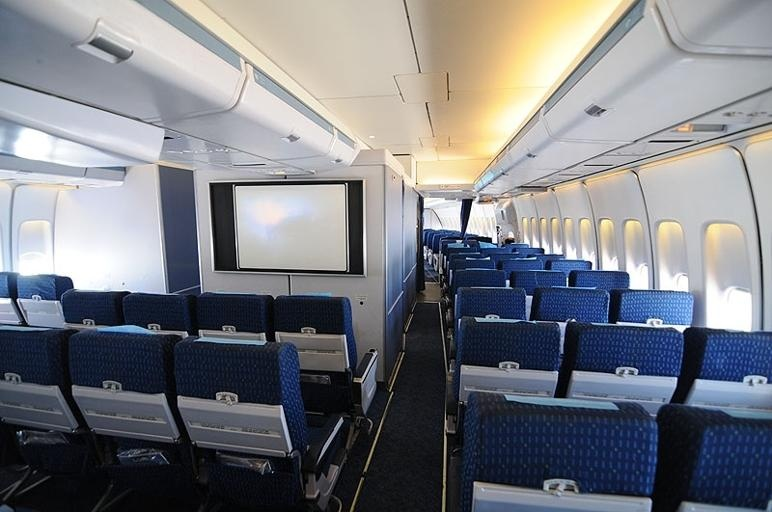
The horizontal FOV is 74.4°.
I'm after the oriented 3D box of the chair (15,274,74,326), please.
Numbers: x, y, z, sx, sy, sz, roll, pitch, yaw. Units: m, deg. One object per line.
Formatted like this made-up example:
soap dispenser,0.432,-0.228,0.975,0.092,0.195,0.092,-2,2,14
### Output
chair,-4.890,0.627,7.542,0.859,0.744,0.881,1,5,-14
